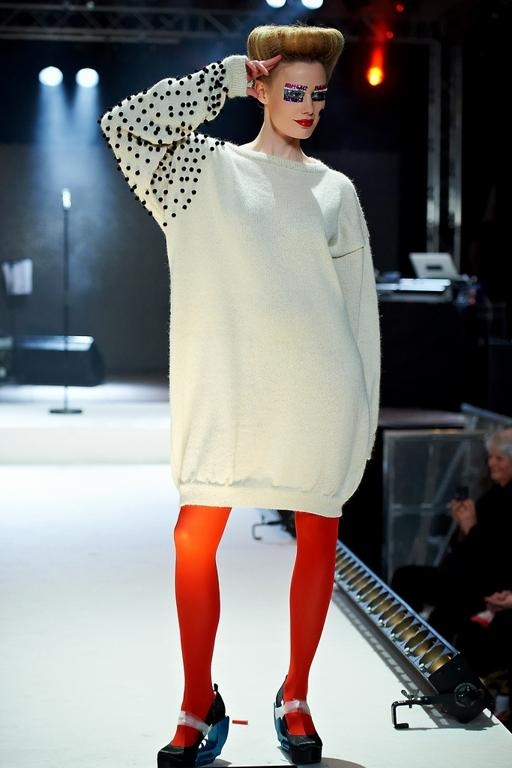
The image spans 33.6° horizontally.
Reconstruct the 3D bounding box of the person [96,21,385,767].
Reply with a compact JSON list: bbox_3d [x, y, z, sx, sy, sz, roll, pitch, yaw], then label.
[{"bbox_3d":[0.002,0.008,1.474,0.528,1.219,0.536,0,18,-16],"label":"person"}]

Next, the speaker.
[{"bbox_3d":[-1.272,-0.104,5.039,0.549,0.307,0.697,4,-4,-31],"label":"speaker"}]

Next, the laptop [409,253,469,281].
[{"bbox_3d":[0.743,-0.494,3.572,0.191,0.085,0.480,6,16,8],"label":"laptop"}]

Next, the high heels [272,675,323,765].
[{"bbox_3d":[0.073,0.595,1.452,0.050,0.052,0.134,-1,-1,-5],"label":"high heels"}]
